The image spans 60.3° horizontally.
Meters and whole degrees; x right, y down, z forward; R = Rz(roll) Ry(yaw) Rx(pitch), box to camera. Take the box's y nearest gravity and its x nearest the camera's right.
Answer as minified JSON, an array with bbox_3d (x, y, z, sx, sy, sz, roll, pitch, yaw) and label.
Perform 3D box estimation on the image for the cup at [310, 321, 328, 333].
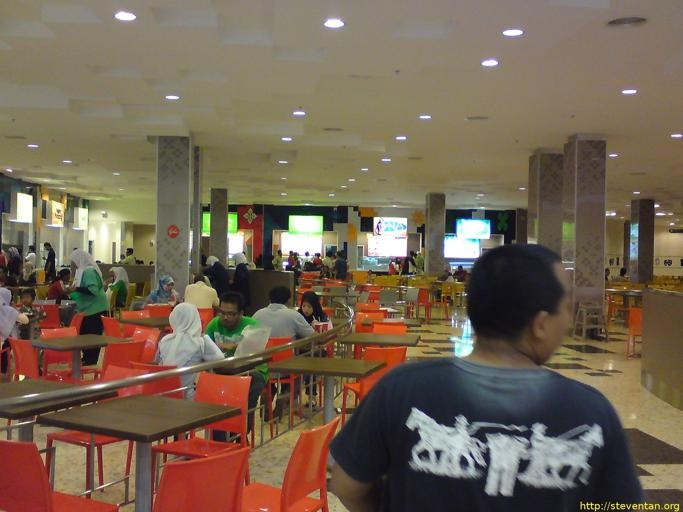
[{"bbox_3d":[-0.243,0.760,6.275,0.156,0.130,0.094,3,-9,-20],"label":"cup"}]

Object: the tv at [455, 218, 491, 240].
[{"bbox_3d":[5.785,-1.210,26.491,1.484,0.916,1.017,0,-11,7],"label":"tv"}]

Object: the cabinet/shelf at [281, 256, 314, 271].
[{"bbox_3d":[-1.753,0.333,22.451,0.729,0.412,1.047,1,-3,1],"label":"cabinet/shelf"}]
